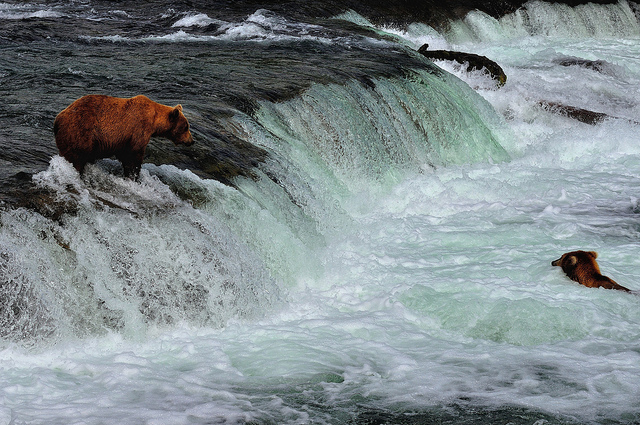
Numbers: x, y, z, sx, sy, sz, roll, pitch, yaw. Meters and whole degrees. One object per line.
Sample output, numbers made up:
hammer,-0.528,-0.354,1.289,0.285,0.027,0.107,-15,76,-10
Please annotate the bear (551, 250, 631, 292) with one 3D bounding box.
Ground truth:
bear,4.072,0.842,11.610,1.225,0.500,0.381,22,46,40

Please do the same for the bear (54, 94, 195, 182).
bear,-2.770,-0.956,10.929,2.074,1.137,0.817,-5,20,-39
